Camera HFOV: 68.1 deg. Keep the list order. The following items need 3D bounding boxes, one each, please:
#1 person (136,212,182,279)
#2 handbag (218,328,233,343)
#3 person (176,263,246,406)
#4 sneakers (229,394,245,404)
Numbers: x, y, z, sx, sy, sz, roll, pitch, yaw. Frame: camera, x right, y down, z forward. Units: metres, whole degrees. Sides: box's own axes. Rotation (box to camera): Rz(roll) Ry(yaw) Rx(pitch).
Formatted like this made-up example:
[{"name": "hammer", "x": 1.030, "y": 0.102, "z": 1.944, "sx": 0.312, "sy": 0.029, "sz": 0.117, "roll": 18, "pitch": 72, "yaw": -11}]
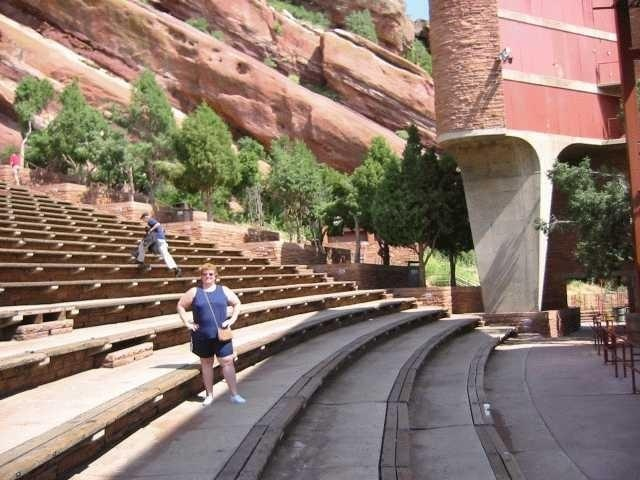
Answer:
[{"name": "person", "x": -4.023, "y": 0.180, "z": 11.702, "sx": 0.957, "sy": 1.492, "sz": 1.270, "roll": 2, "pitch": -5, "yaw": -22}, {"name": "handbag", "x": -1.207, "y": 1.252, "z": 6.019, "sx": 0.186, "sy": 0.150, "sz": 0.070, "roll": -5, "pitch": 2, "yaw": 10}, {"name": "person", "x": -1.405, "y": 1.281, "z": 6.227, "sx": 0.876, "sy": 1.866, "sz": 0.721, "roll": 2, "pitch": -5, "yaw": -32}, {"name": "sneakers", "x": -1.070, "y": 2.175, "z": 6.290, "sx": 0.095, "sy": 0.081, "sz": 0.177, "roll": 2, "pitch": -4, "yaw": -39}]
